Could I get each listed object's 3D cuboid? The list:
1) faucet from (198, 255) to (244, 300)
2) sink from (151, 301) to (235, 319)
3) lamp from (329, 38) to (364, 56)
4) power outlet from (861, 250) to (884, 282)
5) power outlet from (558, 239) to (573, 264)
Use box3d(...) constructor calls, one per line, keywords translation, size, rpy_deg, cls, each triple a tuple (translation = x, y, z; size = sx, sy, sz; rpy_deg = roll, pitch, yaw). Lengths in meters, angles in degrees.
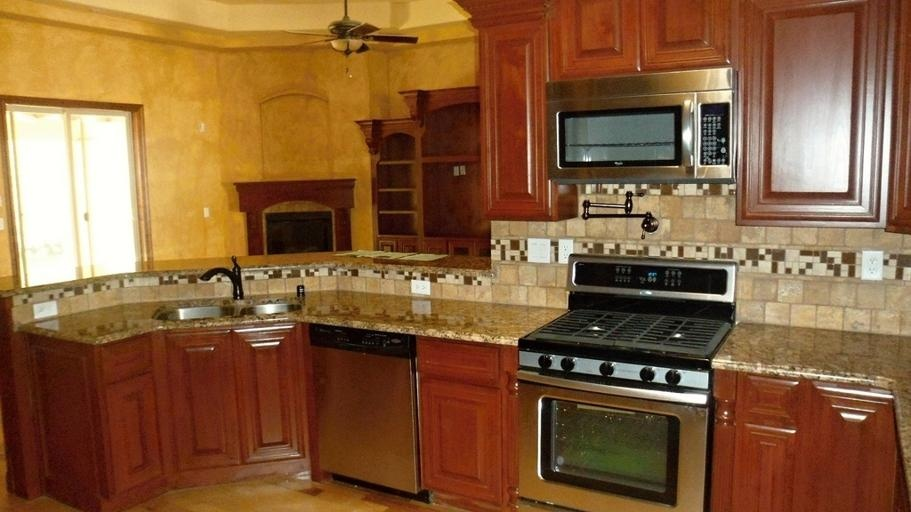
box3d(translation=(-1.946, 0.191, 5.441), size=(0.330, 0.365, 0.303), rpy_deg=(-4, 7, -15), cls="faucet")
box3d(translation=(-2.111, 0.455, 5.318), size=(0.610, 0.109, 0.236), rpy_deg=(-3, 6, -16), cls="sink")
box3d(translation=(-1.098, -2.175, 6.781), size=(0.305, 0.102, 0.400), rpy_deg=(-1, 6, 5), cls="lamp")
box3d(translation=(2.834, 0.067, 4.429), size=(0.137, 0.201, 0.036), rpy_deg=(1, 9, 24), cls="power outlet")
box3d(translation=(0.861, -0.035, 5.047), size=(0.120, 0.187, 0.041), rpy_deg=(-2, 8, 7), cls="power outlet")
